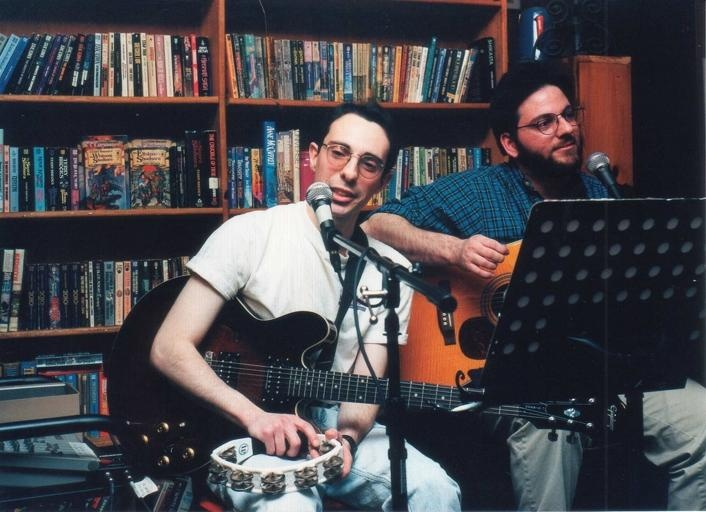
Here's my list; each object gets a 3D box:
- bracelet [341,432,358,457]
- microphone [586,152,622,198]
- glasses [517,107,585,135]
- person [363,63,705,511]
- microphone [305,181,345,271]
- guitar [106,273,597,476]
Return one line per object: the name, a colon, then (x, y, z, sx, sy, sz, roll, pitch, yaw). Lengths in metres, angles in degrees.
bracelet: (-0.008, 0.581, 2.189, 0.018, 0.061, 0.064, -3, -28, -8)
microphone: (0.808, -0.262, 2.285, 0.089, 0.152, 0.204, 0, 2, 18)
glasses: (0.747, -0.507, 2.681, 0.150, 0.044, 0.149, -17, 3, -32)
person: (0.635, -0.024, 2.467, 0.899, 1.772, 0.283, 1, -14, -3)
microphone: (-0.085, -0.088, 2.079, 0.095, 0.263, 0.220, 0, 1, -2)
guitar: (0.003, 0.448, 2.351, 1.517, 0.588, 0.170, 7, -4, 0)
